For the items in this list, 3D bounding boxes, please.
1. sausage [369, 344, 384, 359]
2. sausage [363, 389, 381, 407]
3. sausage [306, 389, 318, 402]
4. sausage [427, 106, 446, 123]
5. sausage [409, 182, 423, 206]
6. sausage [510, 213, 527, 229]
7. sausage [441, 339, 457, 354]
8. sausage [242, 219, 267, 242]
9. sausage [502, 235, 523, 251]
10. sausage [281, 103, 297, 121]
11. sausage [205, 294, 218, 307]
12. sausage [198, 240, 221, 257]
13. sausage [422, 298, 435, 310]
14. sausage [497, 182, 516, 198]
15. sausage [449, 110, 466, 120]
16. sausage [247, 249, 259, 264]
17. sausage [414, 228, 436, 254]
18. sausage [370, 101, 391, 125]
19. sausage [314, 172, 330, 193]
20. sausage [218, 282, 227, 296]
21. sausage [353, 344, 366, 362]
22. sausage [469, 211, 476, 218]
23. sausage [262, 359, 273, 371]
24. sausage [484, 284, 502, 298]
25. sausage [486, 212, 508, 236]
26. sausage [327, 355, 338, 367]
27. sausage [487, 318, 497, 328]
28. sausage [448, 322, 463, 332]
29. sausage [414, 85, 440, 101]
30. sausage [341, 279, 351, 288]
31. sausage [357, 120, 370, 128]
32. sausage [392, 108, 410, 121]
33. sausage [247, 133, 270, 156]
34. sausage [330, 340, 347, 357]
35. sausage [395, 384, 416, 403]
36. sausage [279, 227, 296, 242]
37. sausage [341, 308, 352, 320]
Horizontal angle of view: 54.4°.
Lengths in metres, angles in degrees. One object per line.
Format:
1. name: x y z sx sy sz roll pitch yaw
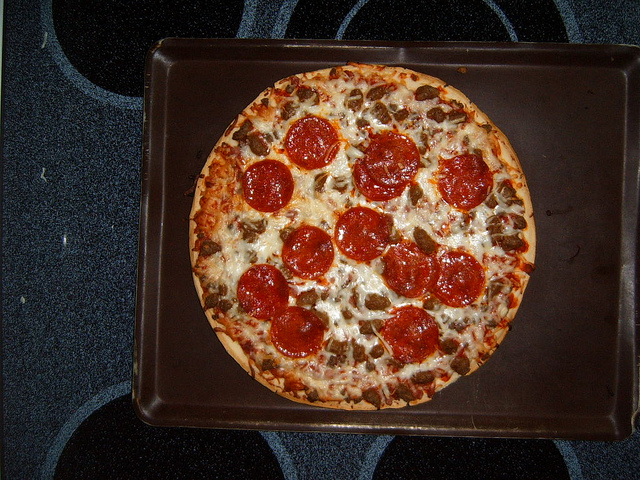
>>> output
1. sausage: 0.315 0.613 3.424 0.082 0.013 0.066 -41 85 -3
2. sausage: 0.293 0.866 3.440 0.114 0.031 0.077 30 86 4
3. sausage: -0.040 0.861 3.442 0.055 0.016 0.057 7 101 10
4. sausage: 0.642 -0.696 3.436 0.102 0.018 0.078 25 85 3
5. sausage: 0.528 -0.251 3.421 0.069 0.023 0.125 2 84 1
6. sausage: 1.088 -0.103 3.421 0.077 0.020 0.094 -13 84 0
7. sausage: 0.706 0.585 3.422 0.066 0.014 0.081 -37 85 -3
8. sausage: -0.355 -0.048 3.430 0.140 0.016 0.109 -10 84 0
9. sausage: 1.045 0.017 3.398 0.066 0.026 0.091 5 81 15
10. sausage: -0.168 -0.712 3.458 0.074 0.024 0.095 4 90 -1
11. sausage: -0.601 0.339 3.463 0.063 0.019 0.065 41 98 1
12. sausage: -0.609 0.046 3.447 0.098 0.021 0.086 8 95 6
13. sausage: 0.598 0.355 3.431 0.062 0.013 0.059 12 85 2
14. sausage: 1.024 -0.268 3.429 0.090 0.022 0.074 34 86 4
15. sausage: 0.755 -0.693 3.437 0.086 0.011 0.056 -2 84 1
16. sausage: -0.367 0.091 3.428 0.051 0.012 0.080 -12 84 0
17. sausage: 0.572 0.011 3.407 0.088 0.038 0.145 -16 92 2
18. sausage: 0.343 -0.702 3.439 0.121 0.017 0.087 43 86 5
19. sausage: 0.012 -0.314 3.436 0.103 0.032 0.113 2 91 -2
20. sausage: -0.536 0.276 3.445 0.057 0.014 0.058 24 107 21
21. sausage: 0.215 0.623 3.420 0.067 0.021 0.091 -7 84 0
22. sausage: 0.836 -0.138 3.422 0.031 0.008 0.031 11 78 9
23. sausage: -0.289 0.690 3.443 0.058 0.024 0.058 -2 84 1
24. sausage: 0.951 0.276 3.423 0.103 0.007 0.053 -27 84 -2
25. sausage: 0.976 -0.089 3.415 0.087 0.016 0.153 30 85 4
26. sausage: 0.070 0.670 3.421 0.057 0.015 0.057 -19 94 3
27. sausage: 0.945 0.455 3.423 0.048 0.012 0.049 6 97 6
28. sausage: 0.749 0.476 3.420 0.058 0.019 0.050 5 94 2
29. sausage: 0.590 -0.813 3.441 0.132 0.020 0.081 -2 84 1
30. sausage: 0.144 0.244 3.430 0.053 0.014 0.012 -45 119 -7
31. sausage: 0.240 -0.642 3.437 0.066 0.012 0.040 -2 84 1
32. sausage: 0.444 -0.692 3.436 0.067 0.016 0.070 6 89 3
33. sausage: -0.342 -0.522 3.451 0.081 0.029 0.126 -10 90 -7
34. sausage: 0.099 0.590 3.410 0.073 0.080 0.140 -1 85 33
35. sausage: 0.459 0.847 3.437 0.093 0.030 0.098 3 103 6
36. sausage: -0.188 -0.044 3.435 0.061 0.012 0.093 44 86 5
37. sausage: 0.148 0.408 3.423 0.045 0.014 0.063 -40 85 -3
